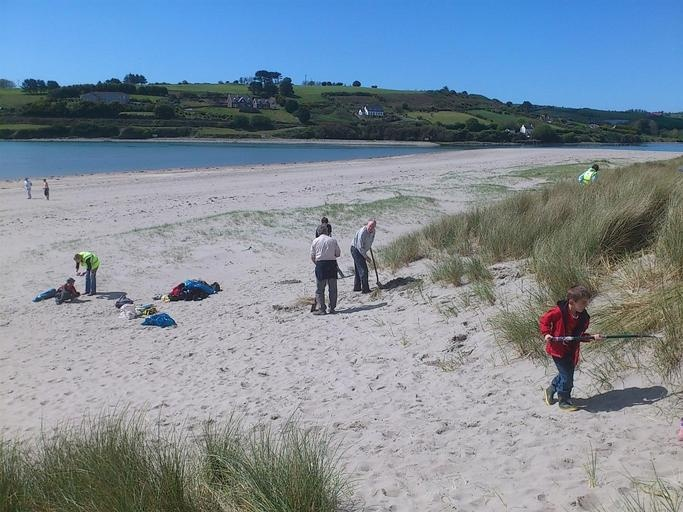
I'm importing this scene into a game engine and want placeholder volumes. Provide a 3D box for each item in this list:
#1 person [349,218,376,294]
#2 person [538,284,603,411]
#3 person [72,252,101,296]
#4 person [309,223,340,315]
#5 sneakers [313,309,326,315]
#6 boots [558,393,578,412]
[{"bbox_3d":[0.478,-0.068,15.657,0.494,1.622,1.357,-3,12,1],"label":"person"},{"bbox_3d":[3.049,1.193,9.886,0.646,1.612,0.608,-5,12,-6],"label":"person"},{"bbox_3d":[-6.278,0.298,18.208,0.506,1.062,1.833,-8,13,-20],"label":"person"},{"bbox_3d":[-0.298,0.256,14.637,0.569,1.743,0.985,-3,12,0],"label":"person"},{"bbox_3d":[-0.416,1.079,14.454,0.196,0.097,0.090,3,-3,16],"label":"sneakers"},{"bbox_3d":[3.040,1.967,9.872,0.302,0.157,0.114,-2,1,29],"label":"boots"}]
